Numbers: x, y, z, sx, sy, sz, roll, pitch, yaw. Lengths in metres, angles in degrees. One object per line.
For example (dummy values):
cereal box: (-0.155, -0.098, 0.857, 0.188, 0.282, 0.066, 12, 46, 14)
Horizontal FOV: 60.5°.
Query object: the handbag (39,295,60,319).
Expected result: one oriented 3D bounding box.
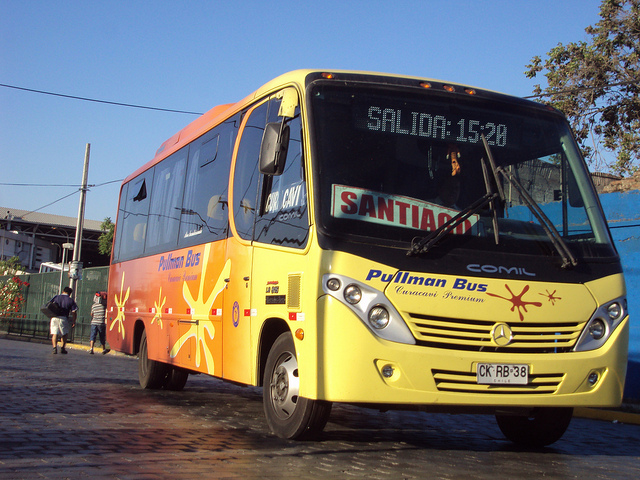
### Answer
handbag: (-10.294, 2.597, 20.760, 0.520, 0.829, 1.568, 5, -2, -33)
